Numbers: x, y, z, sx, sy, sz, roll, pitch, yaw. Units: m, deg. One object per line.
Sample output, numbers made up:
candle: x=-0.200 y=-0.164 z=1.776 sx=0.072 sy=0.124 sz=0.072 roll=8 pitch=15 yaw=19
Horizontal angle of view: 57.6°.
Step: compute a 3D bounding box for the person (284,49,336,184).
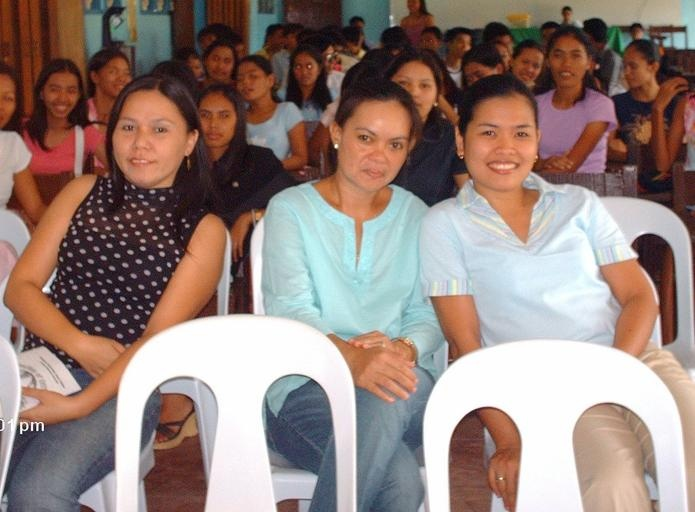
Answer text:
person: x=-0.343 y=-1.141 z=5.091 sx=0.385 sy=1.100 sz=0.283 roll=0 pitch=-24 yaw=-13
